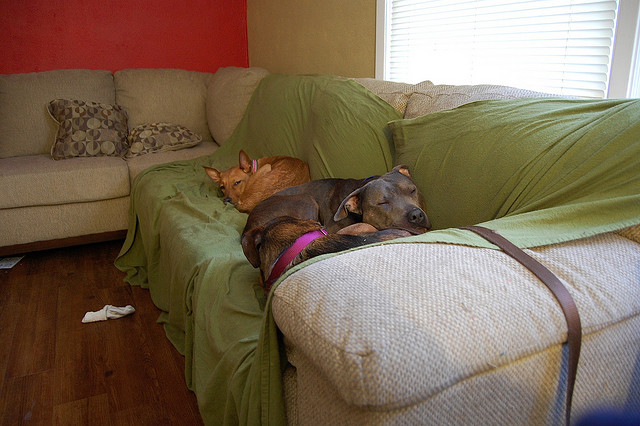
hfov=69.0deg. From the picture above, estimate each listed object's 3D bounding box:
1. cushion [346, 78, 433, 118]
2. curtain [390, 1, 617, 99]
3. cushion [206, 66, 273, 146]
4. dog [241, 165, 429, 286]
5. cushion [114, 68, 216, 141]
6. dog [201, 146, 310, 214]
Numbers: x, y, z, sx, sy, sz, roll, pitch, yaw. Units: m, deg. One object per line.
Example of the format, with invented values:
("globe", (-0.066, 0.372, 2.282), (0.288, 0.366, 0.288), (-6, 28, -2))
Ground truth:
("cushion", (0.453, -0.782, 3.034), (0.318, 0.123, 0.383), (-11, 34, -25))
("curtain", (1.208, -1.047, 2.969), (0.047, 0.578, 0.911), (-16, 28, -38))
("cushion", (-0.964, -1.085, 4.710), (0.339, 0.725, 0.998), (-3, 22, -29))
("dog", (0.008, 0.025, 2.220), (0.734, 0.378, 0.591), (7, 30, 37))
("cushion", (-1.624, -1.184, 4.743), (0.970, 0.702, 0.403), (0, 64, -20))
("dog", (-0.398, -0.213, 3.177), (0.460, 0.296, 0.538), (-1, 17, 36))
